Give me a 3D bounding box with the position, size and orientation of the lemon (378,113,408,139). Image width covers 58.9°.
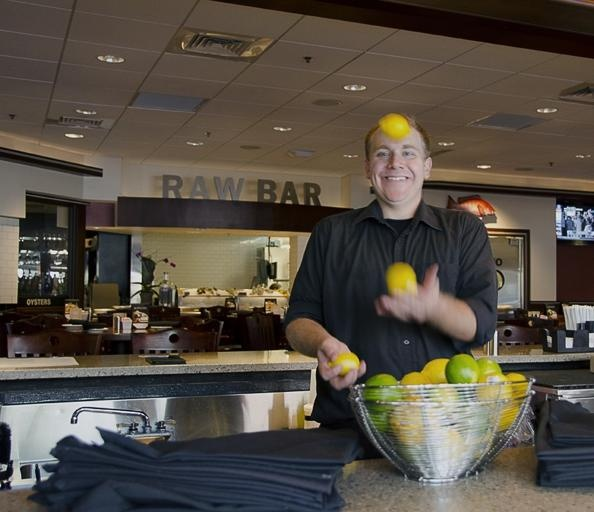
[{"bbox_3d":[0.240,-0.305,1.260,0.064,0.051,0.075,-1,4,-19],"label":"lemon"}]

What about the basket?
[{"bbox_3d":[0.248,0.283,0.939,0.259,0.111,0.229,-1,-16,-1],"label":"basket"}]

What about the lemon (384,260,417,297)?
[{"bbox_3d":[0.215,0.040,1.051,0.068,0.072,0.064,6,-7,-38],"label":"lemon"}]

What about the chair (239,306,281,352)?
[{"bbox_3d":[-0.470,0.846,6.049,0.570,0.447,0.497,1,-6,-8],"label":"chair"}]

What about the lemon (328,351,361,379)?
[{"bbox_3d":[0.093,0.208,1.019,0.059,0.041,0.078,-1,-4,5],"label":"lemon"}]
